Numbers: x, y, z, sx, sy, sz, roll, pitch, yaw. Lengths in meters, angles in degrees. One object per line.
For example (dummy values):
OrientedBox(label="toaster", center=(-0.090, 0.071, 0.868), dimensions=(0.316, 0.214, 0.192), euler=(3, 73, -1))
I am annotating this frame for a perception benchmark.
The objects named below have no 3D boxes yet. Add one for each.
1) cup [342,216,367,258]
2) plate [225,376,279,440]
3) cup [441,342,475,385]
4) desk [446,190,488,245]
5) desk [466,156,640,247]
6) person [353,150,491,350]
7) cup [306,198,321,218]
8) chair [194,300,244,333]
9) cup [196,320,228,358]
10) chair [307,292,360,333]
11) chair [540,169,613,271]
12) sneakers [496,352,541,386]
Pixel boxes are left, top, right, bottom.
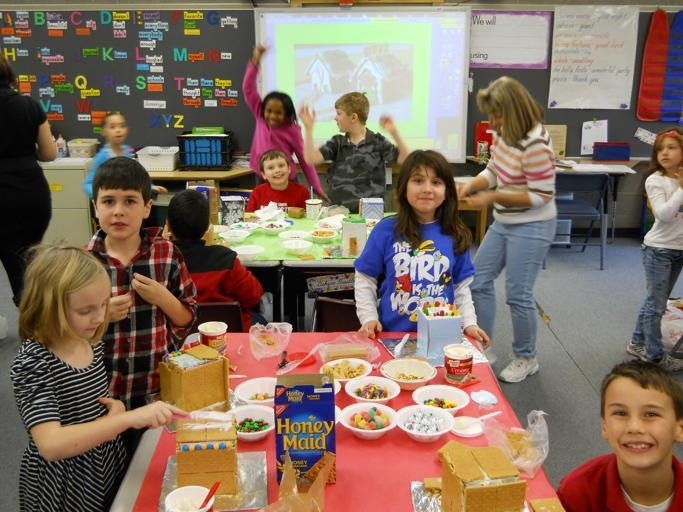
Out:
OrientedBox(label="cup", center=(0.065, -0.089, 2.985), dimensions=(0.166, 0.301, 0.158), euler=(2, 29, -1))
OrientedBox(label="plate", center=(-0.270, 0.461, 1.649), dimensions=(0.146, 0.039, 0.163), euler=(0, 32, -1))
OrientedBox(label="cup", center=(0.387, 0.364, 1.869), dimensions=(0.108, 0.109, 0.105), euler=(-1, 23, 0))
OrientedBox(label="desk", center=(1.385, -0.411, 5.997), dimensions=(0.443, 0.439, 0.344), euler=(18, 16, 9))
OrientedBox(label="desk", center=(2.085, -0.524, 5.407), dimensions=(0.975, 0.739, 0.796), euler=(9, 16, 4))
OrientedBox(label="person", center=(0.291, -0.032, 2.196), dimensions=(0.509, 0.730, 0.398), euler=(-4, 17, 2))
OrientedBox(label="cup", center=(-0.195, -0.329, 3.840), dimensions=(0.113, 0.095, 0.118), euler=(1, 23, 0))
OrientedBox(label="chair", center=(-0.525, 0.238, 2.310), dimensions=(0.170, 0.127, 0.136), euler=(2, 14, -2))
OrientedBox(label="cup", center=(-0.448, 0.296, 1.916), dimensions=(0.104, 0.108, 0.105), euler=(1, 20, 0))
OrientedBox(label="chair", center=(-0.038, 0.256, 2.589), dimensions=(0.167, 0.224, 0.184), euler=(3, 21, 9))
OrientedBox(label="chair", center=(2.162, -0.345, 5.039), dimensions=(0.613, 0.758, 0.588), euler=(-12, 15, -36))
OrientedBox(label="sneakers", center=(1.074, 0.690, 3.360), dimensions=(0.280, 0.141, 0.115), euler=(-14, 17, -29))
